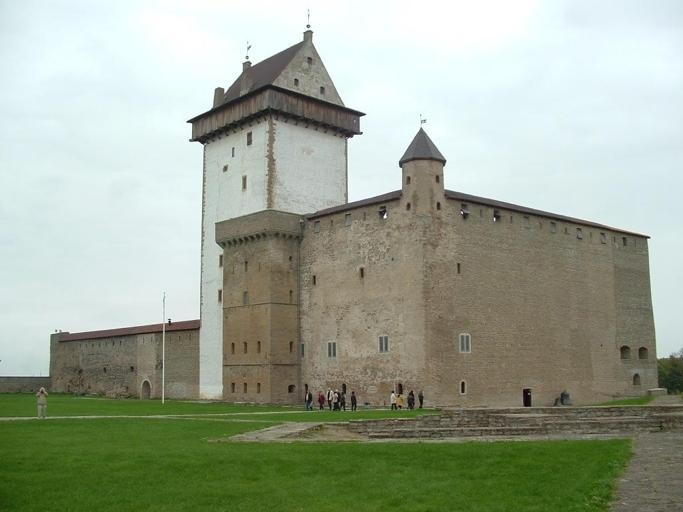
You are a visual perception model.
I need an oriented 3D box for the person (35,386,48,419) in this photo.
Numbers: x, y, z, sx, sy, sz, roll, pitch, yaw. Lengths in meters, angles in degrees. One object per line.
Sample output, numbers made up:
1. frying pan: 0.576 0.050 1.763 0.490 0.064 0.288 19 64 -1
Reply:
1. person: -13.764 6.683 36.399 0.373 1.382 0.950 1 -4 -27
